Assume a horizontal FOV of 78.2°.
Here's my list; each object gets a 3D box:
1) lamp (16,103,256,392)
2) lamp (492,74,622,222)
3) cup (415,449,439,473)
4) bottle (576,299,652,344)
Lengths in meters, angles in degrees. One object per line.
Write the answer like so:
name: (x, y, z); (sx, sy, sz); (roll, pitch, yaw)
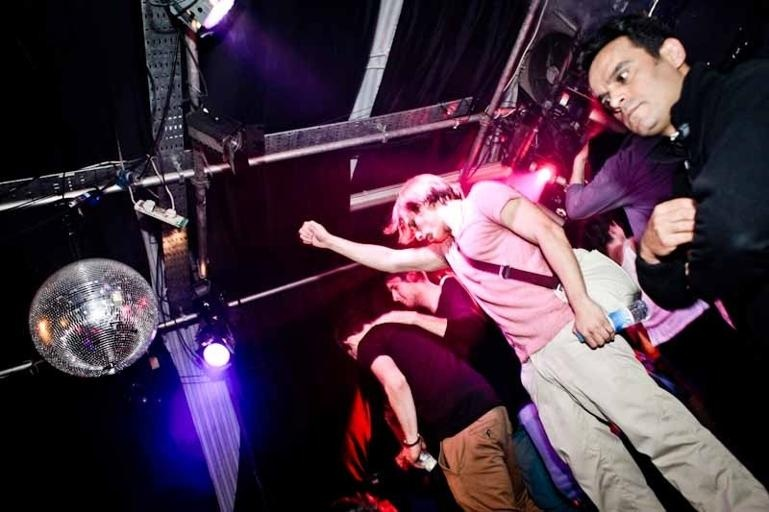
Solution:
lamp: (-1.828, -0.090, 3.411); (1.075, 1.142, 2.188); (-11, 62, -3)
lamp: (1.680, -1.179, 4.611); (0.685, 1.011, 0.329); (35, 35, 16)
cup: (0.303, 1.517, 3.469); (0.146, 0.096, 0.091); (13, 24, 12)
bottle: (1.732, 0.437, 3.420); (0.469, 0.157, 0.149); (-13, 30, -38)
